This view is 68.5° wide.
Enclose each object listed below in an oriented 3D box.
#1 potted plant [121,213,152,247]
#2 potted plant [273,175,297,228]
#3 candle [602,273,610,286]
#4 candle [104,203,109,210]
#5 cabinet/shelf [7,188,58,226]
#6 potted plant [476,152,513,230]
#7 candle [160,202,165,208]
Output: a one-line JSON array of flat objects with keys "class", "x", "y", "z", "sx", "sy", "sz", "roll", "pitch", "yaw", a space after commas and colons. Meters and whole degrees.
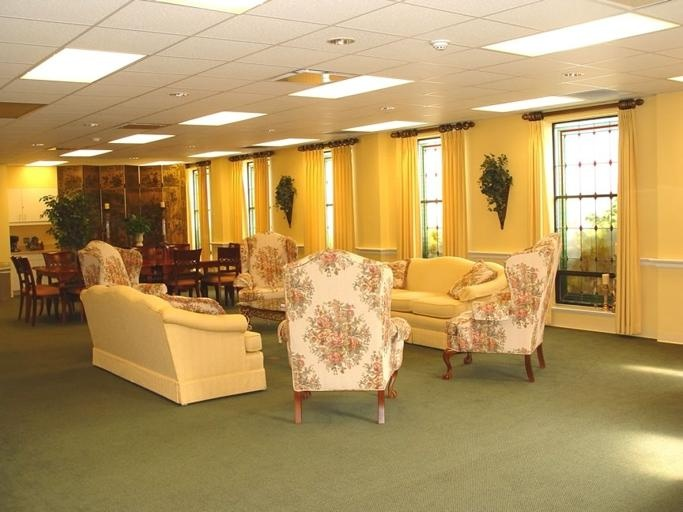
[{"class": "potted plant", "x": -5.631, "y": -0.736, "z": 13.677, "sx": 1.042, "sy": 1.061, "sz": 1.087, "roll": -4, "pitch": 6, "yaw": -27}, {"class": "potted plant", "x": -1.433, "y": -1.391, "z": 12.702, "sx": 0.433, "sy": 1.336, "sz": 0.567, "roll": -6, "pitch": 7, "yaw": -32}, {"class": "candle", "x": 4.181, "y": 0.368, "z": 7.939, "sx": 0.103, "sy": 0.189, "sz": 0.359, "roll": 1, "pitch": 5, "yaw": 28}, {"class": "candle", "x": -6.721, "y": -1.426, "z": 14.372, "sx": 0.174, "sy": 0.141, "sz": 0.165, "roll": 3, "pitch": 2, "yaw": -11}, {"class": "cabinet/shelf", "x": -8.367, "y": -1.347, "z": 13.467, "sx": 1.453, "sy": 1.071, "sz": 0.534, "roll": -1, "pitch": 1, "yaw": -32}, {"class": "potted plant", "x": 2.701, "y": -1.146, "z": 8.863, "sx": 0.527, "sy": 1.359, "sz": 0.378, "roll": 3, "pitch": 8, "yaw": 43}, {"class": "candle", "x": -5.368, "y": -1.553, "z": 15.058, "sx": 0.153, "sy": 0.233, "sz": 0.139, "roll": -1, "pitch": 6, "yaw": -3}]
